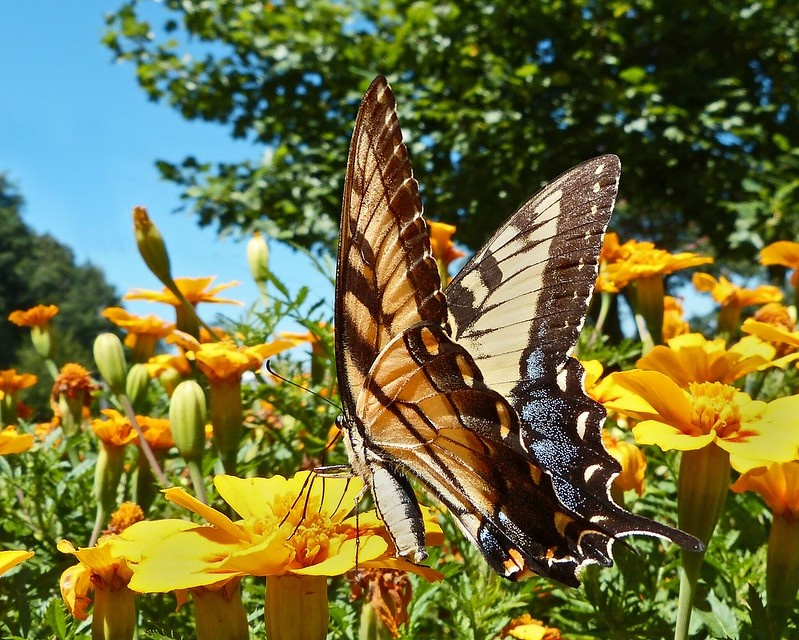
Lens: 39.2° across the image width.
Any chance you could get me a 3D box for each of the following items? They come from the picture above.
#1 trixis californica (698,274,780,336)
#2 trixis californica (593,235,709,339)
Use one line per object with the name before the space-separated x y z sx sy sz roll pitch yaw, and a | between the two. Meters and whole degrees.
trixis californica | 1.517 -0.046 5.127 0.452 0.233 0.498 -2 -14 17
trixis californica | 1.115 -0.212 4.908 0.466 0.325 0.618 0 7 16
